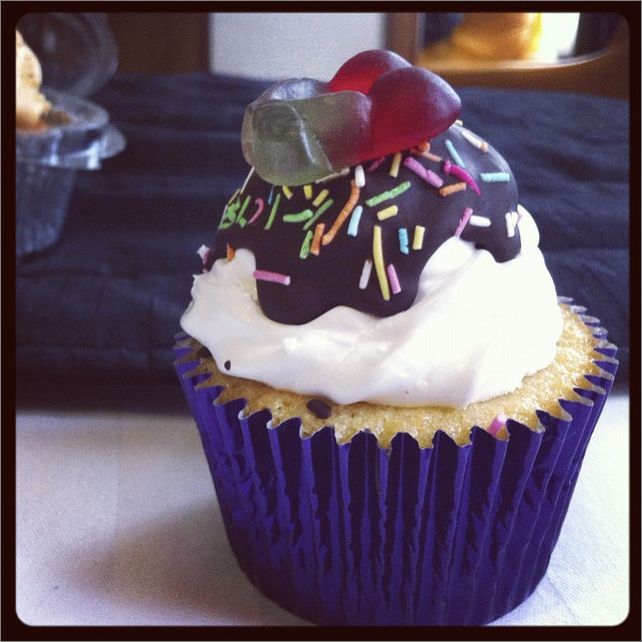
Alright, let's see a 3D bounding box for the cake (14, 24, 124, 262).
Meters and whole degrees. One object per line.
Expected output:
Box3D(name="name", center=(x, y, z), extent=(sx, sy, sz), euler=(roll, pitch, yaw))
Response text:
Box3D(name="cake", center=(-0.973, -0.702, 2.903), extent=(0.453, 0.814, 0.445), euler=(-6, 38, -12))
